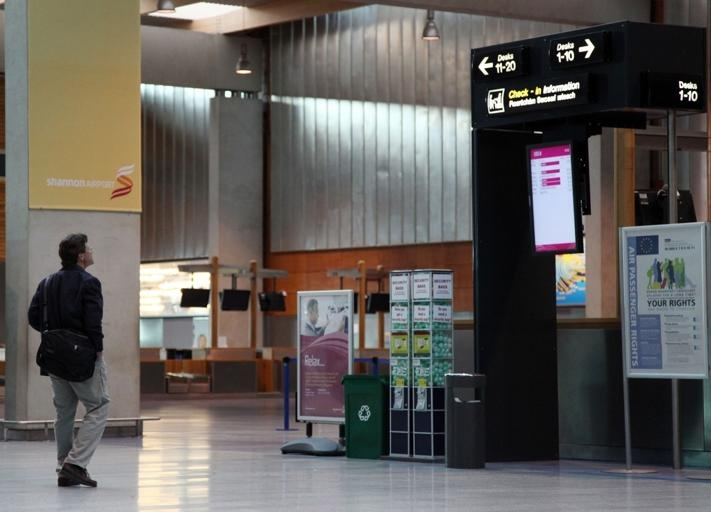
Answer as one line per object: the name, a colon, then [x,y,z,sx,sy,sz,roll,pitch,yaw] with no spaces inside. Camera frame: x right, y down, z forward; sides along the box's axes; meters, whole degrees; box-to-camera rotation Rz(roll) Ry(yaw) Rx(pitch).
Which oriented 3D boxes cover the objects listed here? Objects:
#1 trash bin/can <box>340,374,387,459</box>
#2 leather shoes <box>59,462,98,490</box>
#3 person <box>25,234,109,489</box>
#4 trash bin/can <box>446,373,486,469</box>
trash bin/can: [0.120,1.688,11.221,0.623,0.859,0.654,-4,-7,39]
leather shoes: [-2.362,1.864,8.940,0.408,0.208,0.146,5,-4,-4]
person: [-2.469,0.888,9.161,0.648,2.169,0.367,-2,-4,16]
trash bin/can: [1.057,1.606,10.288,0.381,0.898,0.166,-1,-3,5]
